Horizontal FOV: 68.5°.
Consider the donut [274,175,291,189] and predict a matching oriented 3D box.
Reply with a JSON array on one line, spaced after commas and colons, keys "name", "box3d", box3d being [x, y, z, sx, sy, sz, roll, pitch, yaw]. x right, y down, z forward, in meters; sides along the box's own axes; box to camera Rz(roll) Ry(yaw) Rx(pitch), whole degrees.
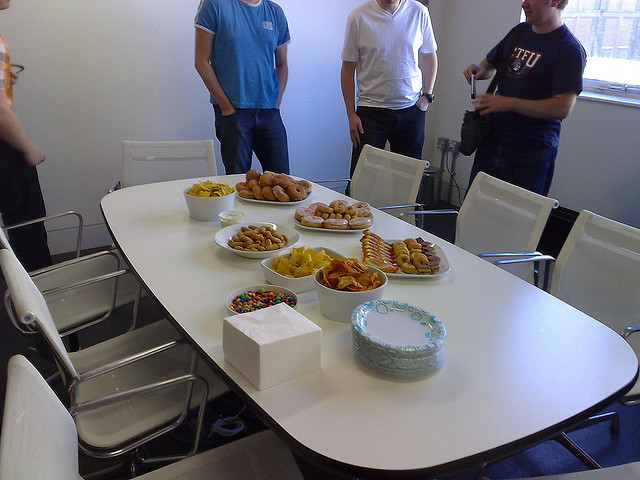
[{"name": "donut", "box3d": [-0.178, -0.289, 2.267, 0.061, 0.024, 0.065, 19, 33, 24]}]

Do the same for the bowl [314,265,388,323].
[{"name": "bowl", "box3d": [0.085, 0.146, 1.460, 0.169, 0.168, 0.190, -3, 20, -18]}]

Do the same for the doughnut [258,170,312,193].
[{"name": "doughnut", "box3d": [-0.222, -0.304, 2.313, 0.148, 0.048, 0.154, 8, 14, -27]}]

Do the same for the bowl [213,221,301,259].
[{"name": "bowl", "box3d": [-0.227, 0.014, 1.923, 0.455, 0.121, 0.477, 0, -4, 0]}]

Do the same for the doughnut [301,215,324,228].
[{"name": "doughnut", "box3d": [-0.032, -0.077, 1.973, 0.093, 0.032, 0.052, 5, 28, 8]}]

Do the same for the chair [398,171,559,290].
[{"name": "chair", "box3d": [0.803, -0.051, 2.298, 0.421, 0.845, 0.527, -11, 26, -23]}]

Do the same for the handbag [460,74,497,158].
[{"name": "handbag", "box3d": [1.042, -0.803, 3.085, 0.163, 0.181, 0.675, 20, 68, 9]}]

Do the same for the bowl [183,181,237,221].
[{"name": "bowl", "box3d": [-0.550, -0.174, 2.090, 0.153, 0.109, 0.181, -11, 13, 4]}]

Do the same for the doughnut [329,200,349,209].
[{"name": "doughnut", "box3d": [0.069, -0.163, 2.079, 0.052, 0.020, 0.058, -5, 17, -7]}]

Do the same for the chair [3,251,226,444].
[{"name": "chair", "box3d": [-0.701, 0.374, 1.651, 0.411, 0.584, 0.459, -21, 45, -26]}]

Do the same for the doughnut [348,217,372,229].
[{"name": "doughnut", "box3d": [0.163, -0.075, 1.969, 0.086, 0.028, 0.095, 12, 30, 18]}]

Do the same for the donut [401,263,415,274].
[{"name": "donut", "box3d": [0.302, 0.099, 1.627, 0.032, 0.024, 0.035, -2, 13, -10]}]

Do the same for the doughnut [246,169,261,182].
[{"name": "doughnut", "box3d": [-0.341, -0.322, 2.361, 0.066, 0.060, 0.051, 1, 16, 35]}]

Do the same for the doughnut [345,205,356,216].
[{"name": "doughnut", "box3d": [0.129, -0.128, 2.022, 0.037, 0.015, 0.040, -19, 46, -15]}]

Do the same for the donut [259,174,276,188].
[{"name": "donut", "box3d": [-0.258, -0.289, 2.270, 0.061, 0.033, 0.068, 12, 30, 24]}]

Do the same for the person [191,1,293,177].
[{"name": "person", "box3d": [-0.515, -1.036, 3.287, 0.660, 1.131, 0.324, -8, 27, -17]}]

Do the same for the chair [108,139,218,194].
[{"name": "chair", "box3d": [-1.131, -0.519, 3.247, 0.397, 0.726, 0.409, -6, 23, -17]}]

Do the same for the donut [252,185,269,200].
[{"name": "donut", "box3d": [-0.288, -0.224, 2.254, 0.059, 0.016, 0.064, -9, 51, -34]}]

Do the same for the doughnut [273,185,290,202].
[{"name": "doughnut", "box3d": [-0.185, -0.221, 2.231, 0.060, 0.065, 0.076, -20, 34, -35]}]

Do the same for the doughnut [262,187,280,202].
[{"name": "doughnut", "box3d": [-0.237, -0.218, 2.249, 0.023, 0.066, 0.068, -45, 26, 2]}]

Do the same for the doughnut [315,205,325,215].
[{"name": "doughnut", "box3d": [-0.004, -0.139, 2.049, 0.040, 0.030, 0.038, 0, 27, -1]}]

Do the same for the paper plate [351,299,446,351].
[{"name": "paper plate", "box3d": [0.204, 0.244, 1.272, 0.254, 0.050, 0.257, -7, 21, -29]}]

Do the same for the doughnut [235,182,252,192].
[{"name": "doughnut", "box3d": [-0.387, -0.266, 2.327, 0.045, 0.018, 0.051, 13, 25, 0]}]

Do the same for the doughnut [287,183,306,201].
[{"name": "doughnut", "box3d": [-0.115, -0.235, 2.262, 0.085, 0.066, 0.091, 4, 28, 5]}]
